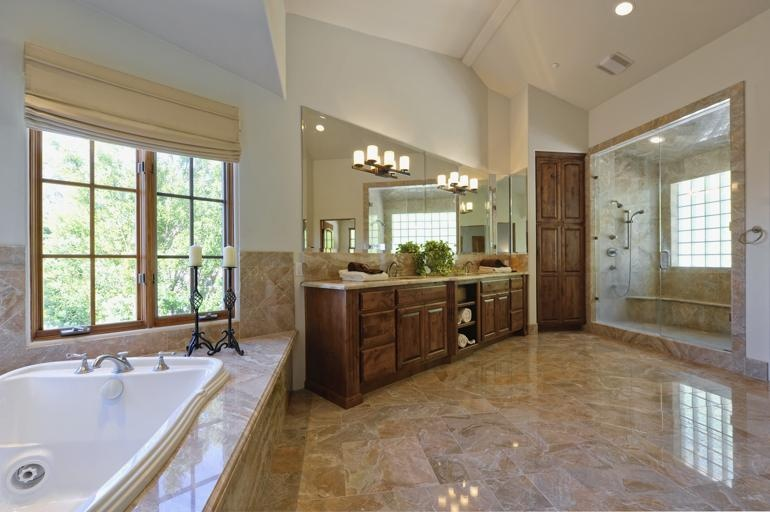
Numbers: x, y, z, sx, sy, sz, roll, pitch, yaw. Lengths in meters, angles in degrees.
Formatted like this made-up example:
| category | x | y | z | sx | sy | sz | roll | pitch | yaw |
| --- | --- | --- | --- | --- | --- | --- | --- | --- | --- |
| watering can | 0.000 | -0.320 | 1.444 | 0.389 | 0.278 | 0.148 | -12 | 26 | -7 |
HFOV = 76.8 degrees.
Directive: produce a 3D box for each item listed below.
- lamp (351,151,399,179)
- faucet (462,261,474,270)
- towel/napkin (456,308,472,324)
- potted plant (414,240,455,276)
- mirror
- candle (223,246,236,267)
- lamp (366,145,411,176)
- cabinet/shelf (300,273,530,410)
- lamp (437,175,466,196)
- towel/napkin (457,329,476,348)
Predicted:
| category | x | y | z | sx | sy | sz | roll | pitch | yaw |
| --- | --- | --- | --- | --- | --- | --- | --- | --- | --- |
| lamp | -0.145 | -1.149 | 6.024 | 0.365 | 0.167 | 0.460 | 3 | -7 | -16 |
| faucet | 1.297 | 0.133 | 7.509 | 0.214 | 0.149 | 0.043 | -5 | 8 | -40 |
| towel/napkin | 1.029 | 0.760 | 6.310 | 0.185 | 0.185 | 0.197 | -1 | 0 | -18 |
| potted plant | 0.636 | 0.040 | 6.446 | 0.446 | 0.492 | 0.473 | 0 | -4 | 26 |
| mirror | 0.657 | -0.865 | 6.524 | 3.875 | 1.868 | 0.599 | -6 | 8 | -41 |
| candle | -1.500 | 0.002 | 4.724 | 0.103 | 0.192 | 0.065 | -3 | 6 | -20 |
| lamp | 0.018 | -1.227 | 6.160 | 0.417 | 0.216 | 0.538 | 0 | -5 | -3 |
| cabinet/shelf | 0.628 | 0.767 | 6.320 | 3.560 | 1.249 | 0.808 | -6 | 8 | -41 |
| lamp | 0.949 | -1.043 | 7.027 | 0.340 | 0.180 | 0.454 | 0 | -2 | 3 |
| towel/napkin | 1.048 | 1.061 | 6.300 | 0.221 | 0.110 | 0.224 | 0 | -7 | 3 |
